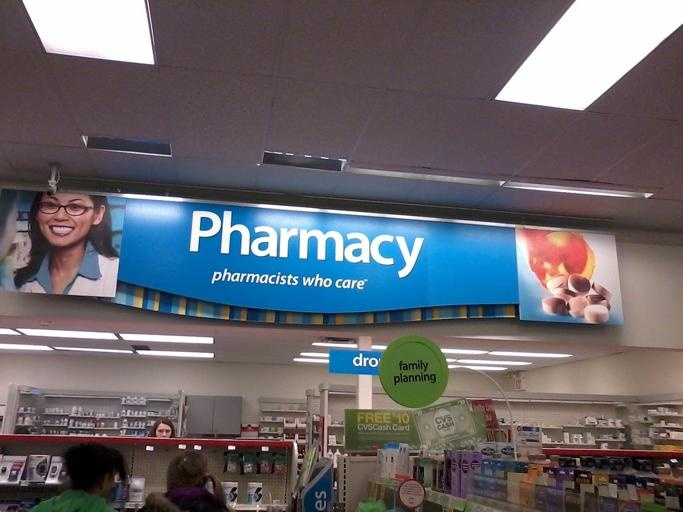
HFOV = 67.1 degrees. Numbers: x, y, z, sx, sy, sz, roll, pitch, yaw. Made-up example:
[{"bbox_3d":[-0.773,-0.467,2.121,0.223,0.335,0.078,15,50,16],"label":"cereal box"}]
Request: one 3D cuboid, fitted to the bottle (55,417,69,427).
[{"bbox_3d":[-7.152,4.294,13.302,0.297,0.233,0.169,0,-18,-1],"label":"bottle"}]
